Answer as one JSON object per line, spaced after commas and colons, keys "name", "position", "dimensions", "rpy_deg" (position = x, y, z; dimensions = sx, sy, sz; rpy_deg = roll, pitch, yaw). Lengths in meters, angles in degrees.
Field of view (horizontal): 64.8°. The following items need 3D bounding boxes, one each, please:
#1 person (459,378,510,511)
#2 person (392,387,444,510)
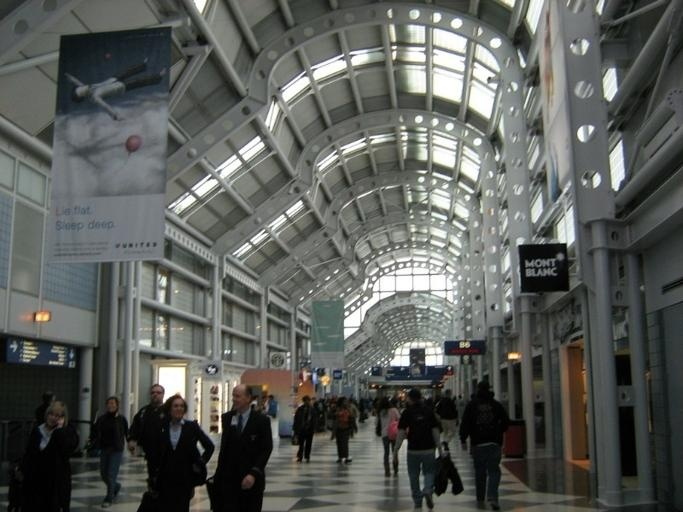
{"name": "person", "position": [2.445, 3.128, 9.148], "dimensions": [0.785, 2.059, 1.115], "rpy_deg": [-4, -20, 11]}
{"name": "person", "position": [1.251, 3.163, 8.934], "dimensions": [0.708, 1.856, 1.048], "rpy_deg": [-2, -20, 6]}
